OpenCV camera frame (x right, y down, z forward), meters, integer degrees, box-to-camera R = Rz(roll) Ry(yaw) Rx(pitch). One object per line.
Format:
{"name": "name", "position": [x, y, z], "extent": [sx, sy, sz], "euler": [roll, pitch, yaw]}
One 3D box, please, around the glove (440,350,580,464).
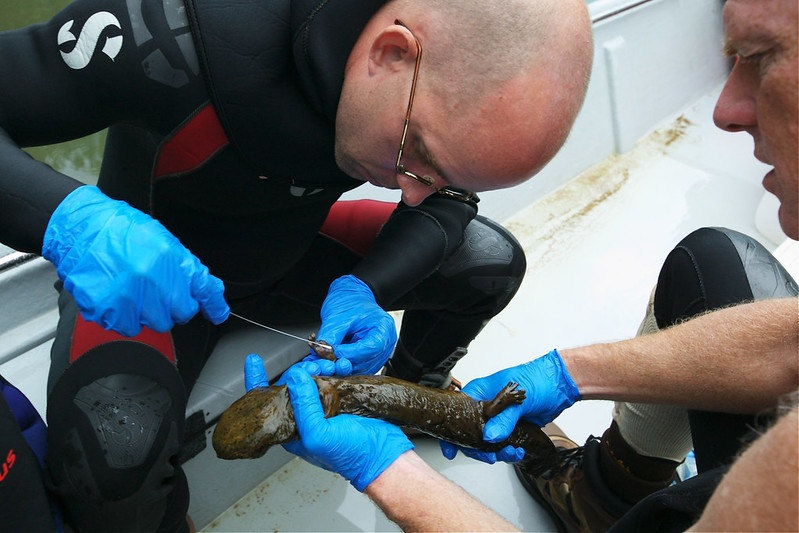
{"name": "glove", "position": [0.458, 0.454, 2.283], "extent": [0.549, 0.316, 0.227], "euler": [-30, 76, -12]}

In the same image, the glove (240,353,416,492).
{"name": "glove", "position": [-0.249, 0.487, 2.019], "extent": [0.583, 0.293, 0.279], "euler": [35, 36, 28]}

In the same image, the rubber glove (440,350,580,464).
{"name": "rubber glove", "position": [0.383, 0.524, 2.261], "extent": [0.549, 0.316, 0.227], "euler": [-30, 76, -12]}

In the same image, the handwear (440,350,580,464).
{"name": "handwear", "position": [0.442, 0.477, 2.269], "extent": [0.549, 0.316, 0.227], "euler": [-30, 76, -12]}
